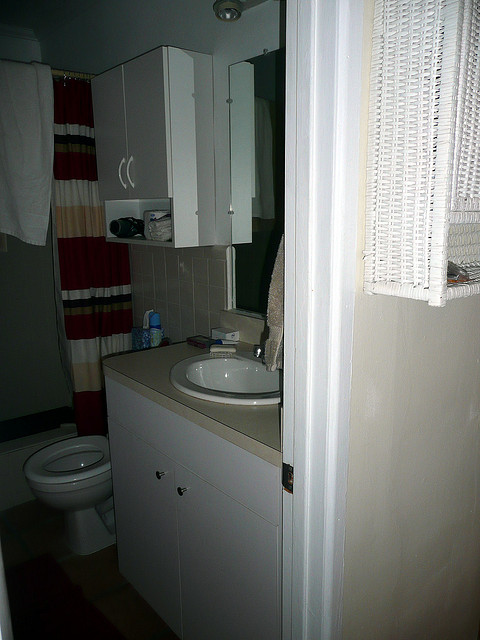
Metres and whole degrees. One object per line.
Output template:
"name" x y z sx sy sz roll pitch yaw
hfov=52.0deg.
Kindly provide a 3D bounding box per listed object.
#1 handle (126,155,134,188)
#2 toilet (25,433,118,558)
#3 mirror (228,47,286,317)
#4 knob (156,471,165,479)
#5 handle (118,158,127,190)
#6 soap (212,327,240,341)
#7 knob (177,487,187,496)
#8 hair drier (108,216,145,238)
"handle" -0.443 -0.595 1.981 0.011 0.122 0.058 -8 12 -32
"toilet" -0.748 0.809 2.218 0.370 0.432 0.411 -10 14 -30
"mirror" 0.055 -0.478 1.854 0.073 0.941 0.330 -9 13 -37
"knob" -0.250 0.481 1.533 0.020 0.027 0.024 -10 -4 -2
"handle" -0.488 -0.603 2.032 0.010 0.121 0.062 -8 12 -31
"soap" -0.057 0.065 1.982 0.110 0.049 0.101 -5 13 -6
"knob" -0.171 0.503 1.444 0.022 0.027 0.020 -1 -22 -34
"hair drier" -0.513 -0.432 2.249 0.122 0.130 0.053 -7 -8 -37
